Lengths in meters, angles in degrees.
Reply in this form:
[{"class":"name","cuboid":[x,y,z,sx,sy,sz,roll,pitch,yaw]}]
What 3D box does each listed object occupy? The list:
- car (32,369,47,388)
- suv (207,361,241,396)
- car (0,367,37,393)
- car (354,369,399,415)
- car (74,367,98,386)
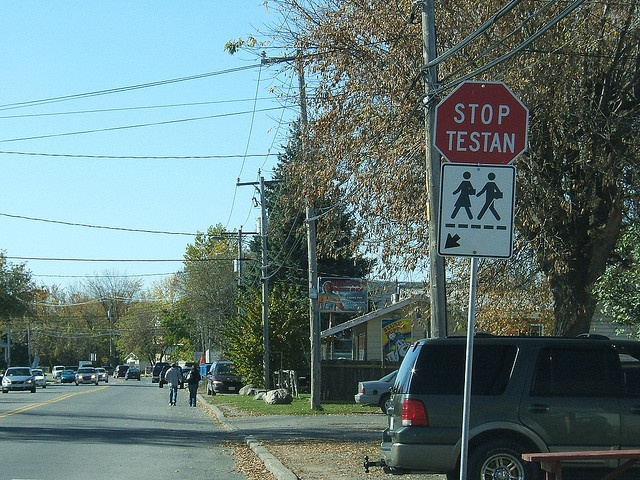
[{"class":"car","cuboid":[-16.343,7.911,67.821,0.999,0.985,2.586,1,-9,-8]},{"class":"suv","cuboid":[-4.513,6.298,54.147,0.958,1.095,1.912,2,-13,-10]},{"class":"car","cuboid":[-15.229,6.899,59.176,0.973,1.009,2.299,1,-10,-8]},{"class":"car","cuboid":[1.874,5.141,39.921,1.894,1.192,1.124,-1,-2,-4]},{"class":"car","cuboid":[-15.125,8.686,75.854,0.855,0.886,1.725,0,-10,-8]}]
